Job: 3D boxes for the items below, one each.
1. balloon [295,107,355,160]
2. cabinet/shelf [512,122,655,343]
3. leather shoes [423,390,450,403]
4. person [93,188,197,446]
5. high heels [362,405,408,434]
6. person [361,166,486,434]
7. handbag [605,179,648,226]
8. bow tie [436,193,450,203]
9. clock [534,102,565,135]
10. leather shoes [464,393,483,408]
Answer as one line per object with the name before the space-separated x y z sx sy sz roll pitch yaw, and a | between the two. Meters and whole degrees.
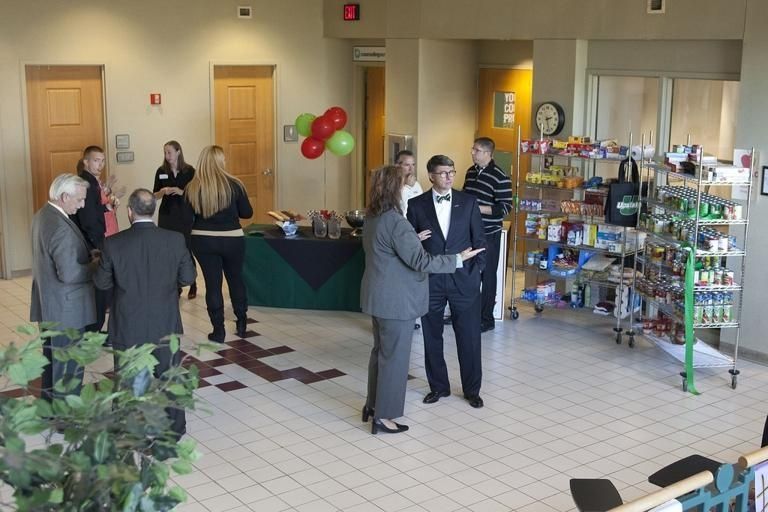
balloon | -0.800 -1.675 7.935 0.785 0.761 0.352 0 -6 9
cabinet/shelf | 2.542 -0.394 7.070 0.728 2.041 1.401 13 23 27
leather shoes | 0.486 1.316 5.297 0.266 0.098 0.095 -1 7 -27
person | -1.882 0.103 4.398 0.743 1.230 0.273 -7 12 -27
high heels | 0.014 1.401 4.814 0.304 0.116 0.216 -2 7 -19
person | 0.156 0.389 4.631 0.733 2.251 0.360 -2 11 -3
handbag | 2.718 -0.584 6.214 0.518 0.478 0.181 -2 11 -13
bow tie | 0.535 -0.524 5.074 0.082 0.080 0.024 19 50 -11
clock | 2.294 -1.899 7.662 0.128 0.534 0.545 -5 8 -40
leather shoes | 0.841 1.341 5.239 0.083 0.072 0.190 -7 10 -27
